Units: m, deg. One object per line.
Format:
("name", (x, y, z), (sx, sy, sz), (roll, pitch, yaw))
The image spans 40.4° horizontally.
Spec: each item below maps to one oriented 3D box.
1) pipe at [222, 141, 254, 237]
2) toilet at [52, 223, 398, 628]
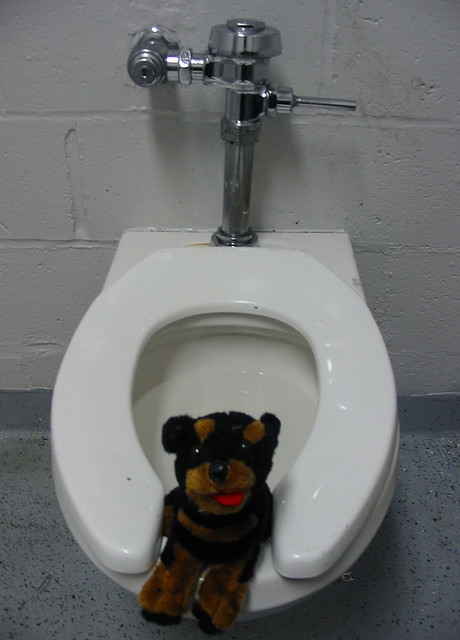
("pipe", (0.010, -0.181, 0.854), (0.058, 0.173, 0.044), (2, 41, -3))
("toilet", (0.001, 0.135, 0.917), (0.514, 0.391, 0.564), (0, 53, 3))
